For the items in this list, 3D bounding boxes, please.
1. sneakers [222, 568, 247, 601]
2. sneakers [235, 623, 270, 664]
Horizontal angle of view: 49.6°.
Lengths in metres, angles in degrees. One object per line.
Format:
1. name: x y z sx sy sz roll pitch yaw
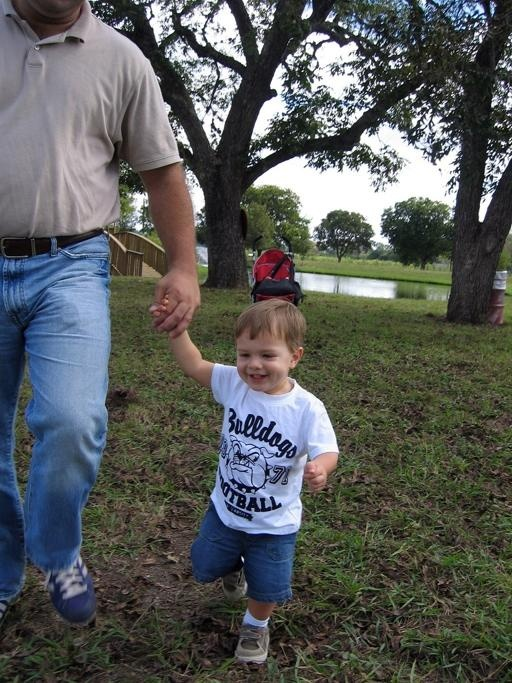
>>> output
1. sneakers: -0.085 0.947 2.150 0.069 0.068 0.181 -1 -3 -8
2. sneakers: -0.010 1.022 1.875 0.113 0.109 0.083 6 9 0
